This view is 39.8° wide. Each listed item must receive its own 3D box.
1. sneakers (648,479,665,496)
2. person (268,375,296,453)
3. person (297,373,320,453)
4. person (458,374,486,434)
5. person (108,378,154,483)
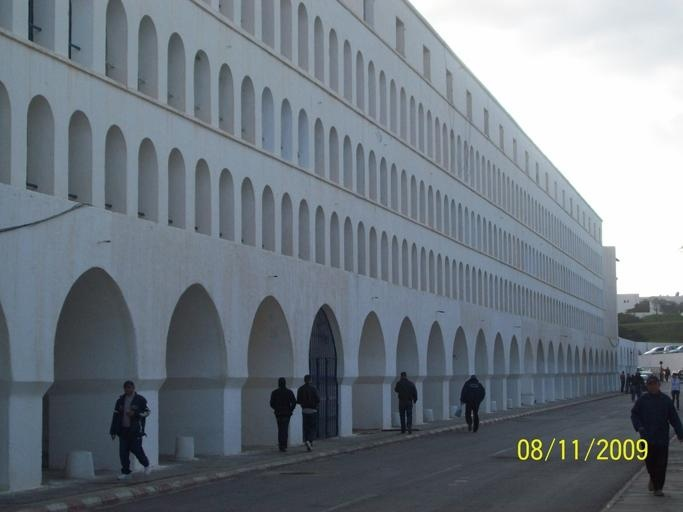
[{"bbox_3d":[6.244,4.643,18.747,0.126,0.237,0.464,-1,-9,-5],"label":"sneakers"},{"bbox_3d":[-1.777,4.702,28.151,0.740,2.214,0.782,4,-12,-28],"label":"person"},{"bbox_3d":[-1.024,4.729,28.568,0.615,2.320,1.162,-1,-11,-4],"label":"person"},{"bbox_3d":[4.885,5.425,35.070,0.687,2.307,0.675,-4,14,-6],"label":"person"},{"bbox_3d":[-4.866,4.025,22.009,0.840,2.207,0.787,-7,-12,23],"label":"person"}]
